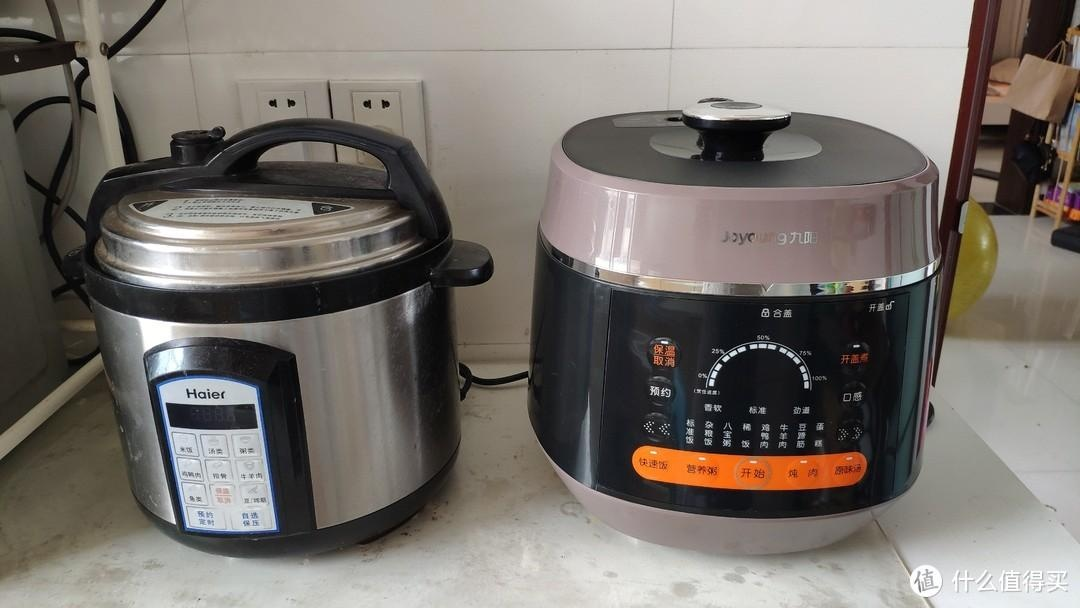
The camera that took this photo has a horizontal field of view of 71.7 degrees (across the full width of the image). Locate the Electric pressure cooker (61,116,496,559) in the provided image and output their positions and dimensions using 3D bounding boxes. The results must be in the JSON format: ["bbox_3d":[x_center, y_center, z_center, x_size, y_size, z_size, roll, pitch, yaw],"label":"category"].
[{"bbox_3d":[-0.277,0.018,1.059,0.601,0.462,0.526,-1,27,-2],"label":"Electric pressure cooker"}]

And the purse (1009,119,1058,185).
[{"bbox_3d":[1.486,-0.465,2.245,0.065,0.153,0.122,-4,61,0],"label":"purse"}]

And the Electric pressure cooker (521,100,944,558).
[{"bbox_3d":[0.215,-0.017,1.074,0.578,0.512,0.540,2,23,2],"label":"Electric pressure cooker"}]
